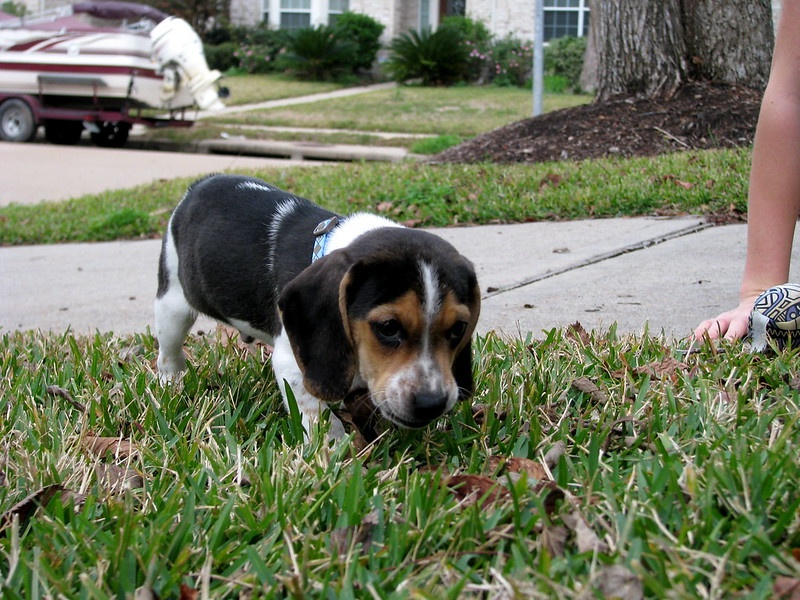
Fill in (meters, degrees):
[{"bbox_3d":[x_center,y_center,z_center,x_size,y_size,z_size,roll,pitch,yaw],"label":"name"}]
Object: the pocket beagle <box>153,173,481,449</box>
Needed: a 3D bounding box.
[{"bbox_3d":[-0.536,0.092,3.855,0.812,1.268,2.040,-13,29,-43],"label":"pocket beagle"}]
